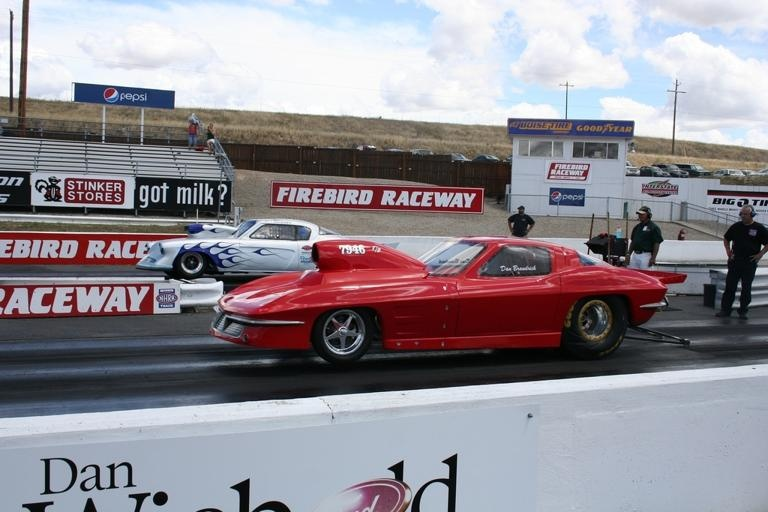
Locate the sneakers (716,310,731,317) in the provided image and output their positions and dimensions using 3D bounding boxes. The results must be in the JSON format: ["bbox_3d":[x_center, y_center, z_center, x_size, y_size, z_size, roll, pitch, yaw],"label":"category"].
[{"bbox_3d":[6.018,1.006,15.927,0.304,0.125,0.102,1,6,6],"label":"sneakers"}]
